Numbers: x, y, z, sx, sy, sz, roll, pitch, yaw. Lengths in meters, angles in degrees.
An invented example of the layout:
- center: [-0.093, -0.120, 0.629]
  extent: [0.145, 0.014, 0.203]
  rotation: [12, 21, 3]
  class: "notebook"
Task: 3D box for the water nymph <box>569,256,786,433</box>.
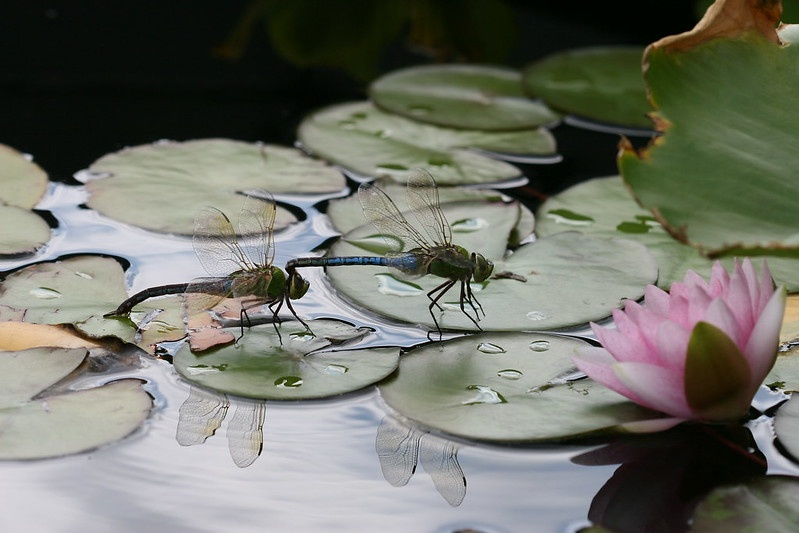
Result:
- center: [0.619, 0.170, 1.756]
  extent: [0.418, 0.297, 0.269]
  rotation: [-13, 48, -20]
  class: "water nymph"
